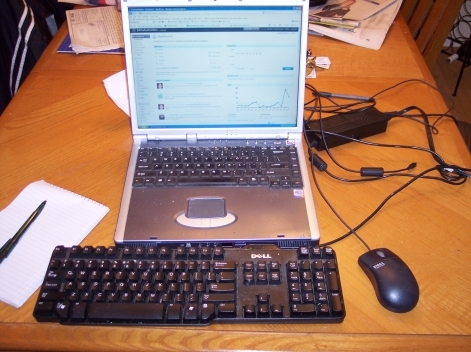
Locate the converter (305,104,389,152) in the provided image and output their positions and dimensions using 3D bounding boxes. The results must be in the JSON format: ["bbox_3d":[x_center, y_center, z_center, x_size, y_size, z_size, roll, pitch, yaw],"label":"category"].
[{"bbox_3d":[0.314,-0.130,1.042,0.228,0.070,0.251,0,29,-13],"label":"converter"}]

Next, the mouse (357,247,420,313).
[{"bbox_3d":[0.322,0.215,0.774,0.084,0.058,0.134,-12,43,-13],"label":"mouse"}]

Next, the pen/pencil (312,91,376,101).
[{"bbox_3d":[0.334,-0.247,1.149,0.206,0.017,0.014,8,41,5],"label":"pen/pencil"}]
